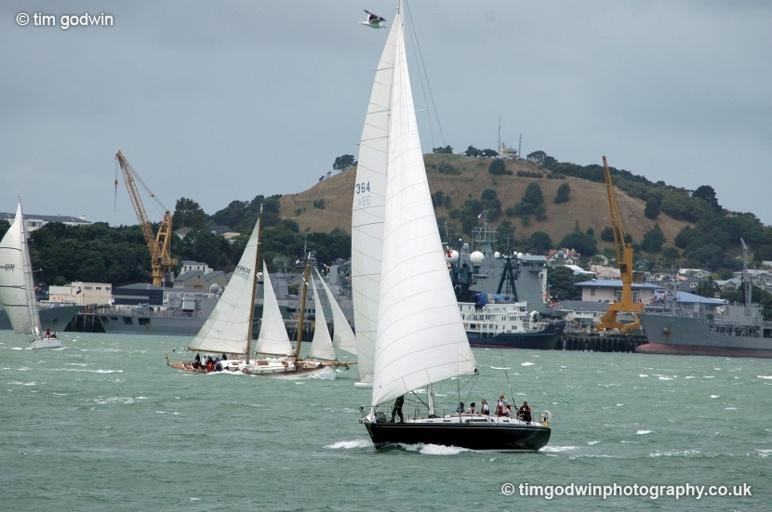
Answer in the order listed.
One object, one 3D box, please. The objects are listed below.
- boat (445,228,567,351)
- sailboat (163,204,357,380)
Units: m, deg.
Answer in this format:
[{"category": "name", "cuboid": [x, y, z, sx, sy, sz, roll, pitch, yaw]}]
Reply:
[{"category": "boat", "cuboid": [15.591, 5.242, 208.451, 8.903, 14.371, 28.123, -6, 6, -30]}, {"category": "sailboat", "cuboid": [-13.455, 3.458, 157.901, 15.750, 17.473, 14.575, 1, 5, -8]}]
